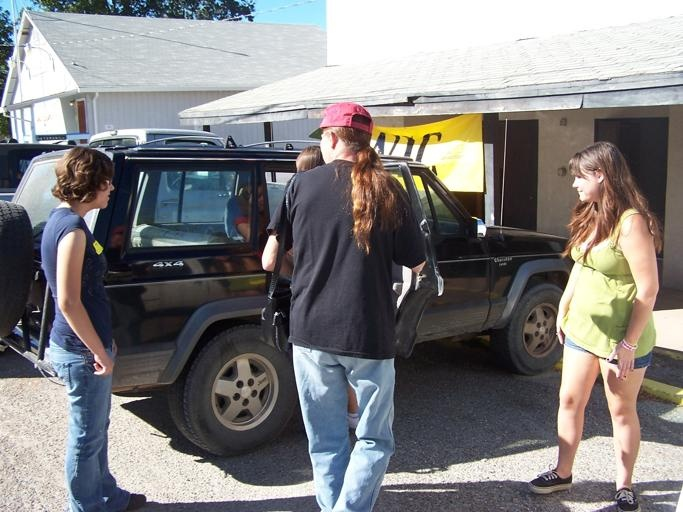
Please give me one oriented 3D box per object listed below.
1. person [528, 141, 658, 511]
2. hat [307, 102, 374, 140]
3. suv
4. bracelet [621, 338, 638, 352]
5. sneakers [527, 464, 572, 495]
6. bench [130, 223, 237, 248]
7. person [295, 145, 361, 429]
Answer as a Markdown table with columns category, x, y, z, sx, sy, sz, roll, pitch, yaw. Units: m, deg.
| category | x | y | z | sx | sy | sz | roll | pitch | yaw |
| --- | --- | --- | --- | --- | --- | --- | --- | --- | --- |
| person | 1.646 | 0.457 | 3.647 | 0.652 | 2.307 | 0.471 | 6 | 12 | 30 |
| hat | -0.014 | -0.737 | 3.051 | 0.302 | 0.158 | 0.230 | 7 | 12 | 23 |
| suv | -0.286 | 0.199 | 5.275 | 4.824 | 2.149 | 2.330 | -11 | 13 | -33 |
| bracelet | 1.720 | 0.547 | 3.397 | 0.073 | 0.033 | 0.074 | 21 | -14 | 18 |
| sneakers | 1.389 | 1.524 | 3.869 | 0.311 | 0.143 | 0.129 | -3 | 14 | -10 |
| bench | -1.137 | -0.151 | 4.067 | 0.735 | 0.181 | 0.143 | -7 | 13 | -30 |
| person | -0.115 | 0.185 | 4.510 | 0.412 | 1.842 | 1.359 | 1 | 6 | 16 |
